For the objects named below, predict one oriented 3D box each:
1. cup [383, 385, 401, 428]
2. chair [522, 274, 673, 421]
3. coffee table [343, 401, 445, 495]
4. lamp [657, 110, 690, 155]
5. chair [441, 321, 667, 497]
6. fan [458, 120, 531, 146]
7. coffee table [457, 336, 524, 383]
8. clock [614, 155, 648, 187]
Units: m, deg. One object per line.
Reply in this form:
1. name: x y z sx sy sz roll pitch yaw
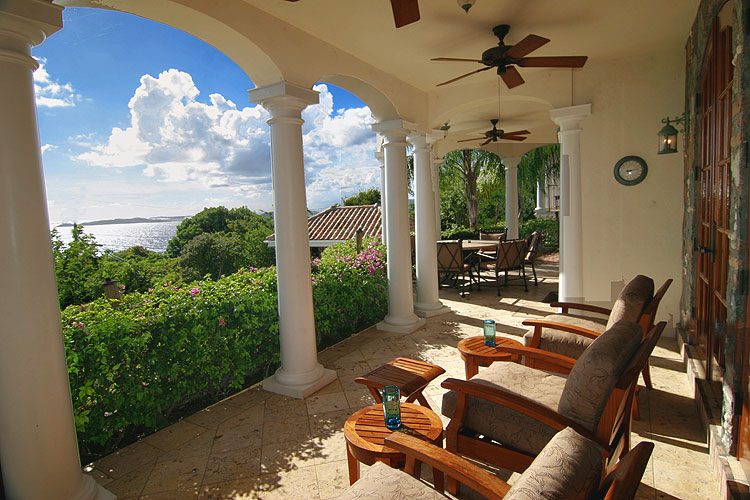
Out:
1. cup: 0.137 1.239 3.675 0.143 0.334 0.146 -5 6 1
2. chair: 2.301 1.000 5.198 1.717 1.602 1.442 -1 4 32
3. coffee table: 0.138 1.434 3.763 0.673 0.723 0.681 -4 18 -6
4. lamp: 3.868 -1.529 6.015 0.319 0.521 0.805 -1 7 31
5. chair: 1.367 1.102 4.146 1.764 1.565 1.441 8 16 41
6. fan: 2.661 -2.717 10.579 0.857 0.293 0.950 0 5 45
7. coffee table: 1.156 1.037 4.763 0.515 0.538 0.501 -3 11 -10
8. clock: 3.589 -1.116 6.508 0.443 0.439 0.091 -2 7 27
